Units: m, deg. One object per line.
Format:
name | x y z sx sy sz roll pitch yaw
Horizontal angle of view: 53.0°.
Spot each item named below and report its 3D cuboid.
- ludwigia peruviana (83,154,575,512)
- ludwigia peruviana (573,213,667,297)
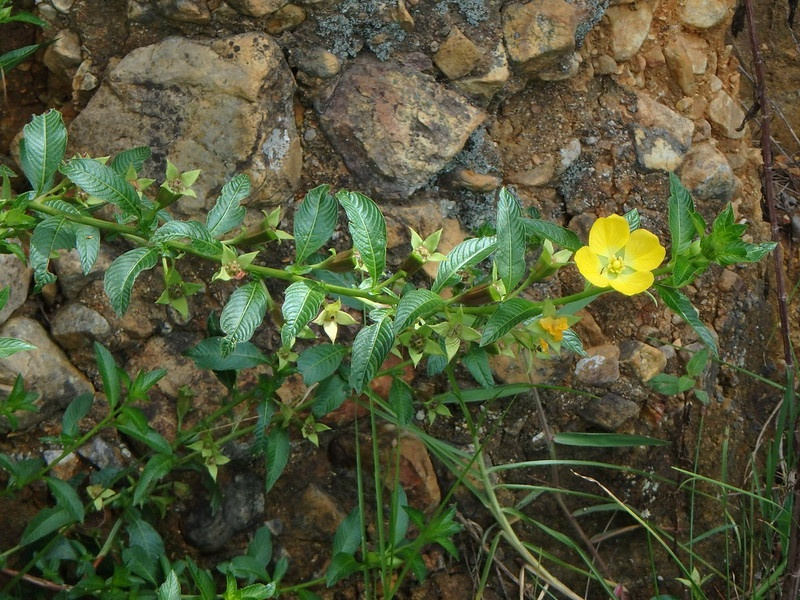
ludwigia peruviana | -0.302 0.165 3.893 2.216 1.727 0.978 12 45 0
ludwigia peruviana | 0.920 -0.217 3.383 0.331 0.388 0.140 1 66 42
